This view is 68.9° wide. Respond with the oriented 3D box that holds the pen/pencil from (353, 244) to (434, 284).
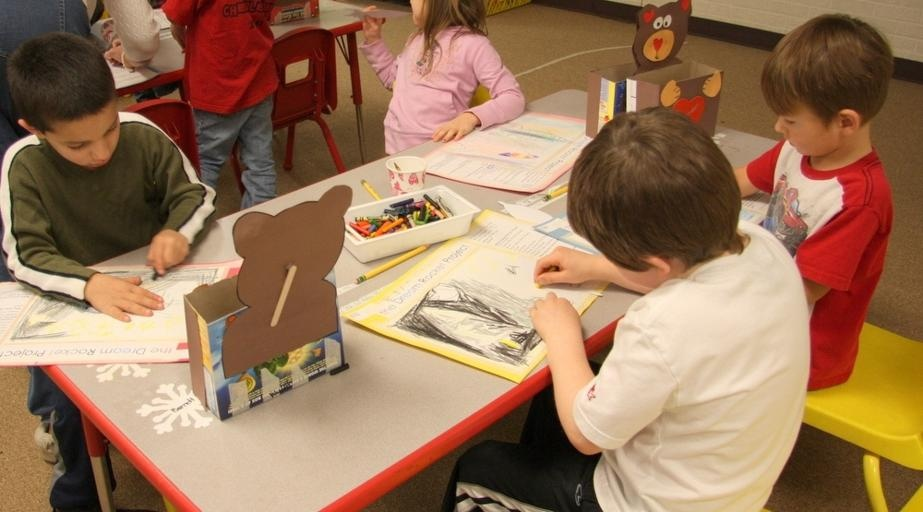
[{"bbox_3d":[-0.211,0.025,1.956,0.235,0.018,0.022,-26,53,-29],"label":"pen/pencil"}]
